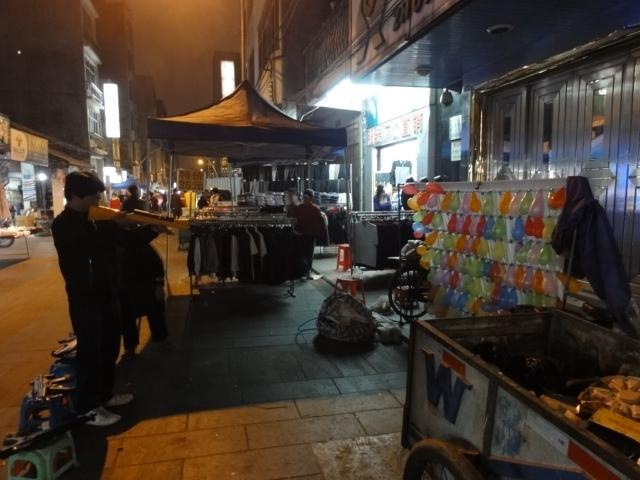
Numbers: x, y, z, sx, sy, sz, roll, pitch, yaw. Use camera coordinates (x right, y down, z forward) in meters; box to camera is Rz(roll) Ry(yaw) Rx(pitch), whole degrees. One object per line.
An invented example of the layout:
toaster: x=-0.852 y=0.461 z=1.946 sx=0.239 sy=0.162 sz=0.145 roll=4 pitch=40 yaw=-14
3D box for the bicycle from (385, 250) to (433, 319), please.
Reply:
bicycle: x=1.516 y=0.784 z=7.788 sx=0.662 sy=1.133 sz=0.767 roll=0 pitch=9 yaw=-10

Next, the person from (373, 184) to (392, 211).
person: x=1.853 y=-1.277 z=13.503 sx=0.539 sy=0.723 sz=1.417 roll=1 pitch=11 yaw=7

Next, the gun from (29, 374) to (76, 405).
gun: x=-2.731 y=1.503 z=4.666 sx=0.270 sy=0.161 sz=0.383 roll=5 pitch=-4 yaw=-30

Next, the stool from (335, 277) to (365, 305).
stool: x=0.574 y=0.938 z=8.632 sx=0.466 sy=0.521 sz=0.475 roll=2 pitch=4 yaw=30

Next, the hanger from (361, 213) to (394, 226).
hanger: x=1.362 y=-0.518 z=10.483 sx=0.821 sy=0.168 sz=1.578 roll=2 pitch=11 yaw=8

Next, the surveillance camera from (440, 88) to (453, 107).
surveillance camera: x=3.117 y=-3.564 z=11.212 sx=0.242 sy=0.344 sz=0.549 roll=2 pitch=11 yaw=13
